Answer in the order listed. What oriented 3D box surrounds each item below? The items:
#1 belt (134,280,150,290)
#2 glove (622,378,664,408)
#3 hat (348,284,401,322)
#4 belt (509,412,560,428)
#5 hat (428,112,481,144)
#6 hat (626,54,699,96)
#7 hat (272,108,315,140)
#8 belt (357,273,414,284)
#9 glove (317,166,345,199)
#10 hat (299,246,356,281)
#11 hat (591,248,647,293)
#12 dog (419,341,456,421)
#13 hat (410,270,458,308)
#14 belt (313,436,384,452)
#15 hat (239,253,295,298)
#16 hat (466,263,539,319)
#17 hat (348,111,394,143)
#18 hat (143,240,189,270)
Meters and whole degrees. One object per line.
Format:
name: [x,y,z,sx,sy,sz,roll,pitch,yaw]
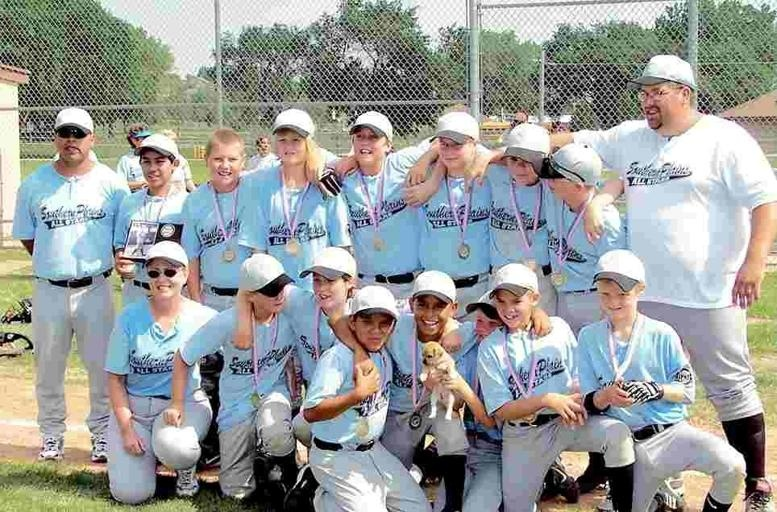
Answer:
belt: [-2.688,0.309,9.476,0.120,0.031,0.126,20,8,-15]
glove: [2.210,1.186,7.600,0.411,0.197,0.117,-2,6,-23]
hat: [-0.133,0.438,7.967,0.449,0.315,0.257,0,6,-2]
belt: [1.336,1.489,7.873,0.244,0.064,0.179,-13,8,15]
hat: [0.690,-1.311,8.890,0.426,0.326,0.298,1,6,0]
hat: [2.576,-1.726,8.228,0.598,0.317,0.455,0,3,-8]
hat: [-0.944,-1.376,9.063,0.312,0.237,0.435,1,-16,7]
belt: [-0.039,0.231,9.199,0.613,0.133,0.124,2,6,11]
glove: [-0.581,-0.775,8.985,0.103,0.275,0.275,-8,24,19]
hat: [-0.554,0.078,8.195,0.445,0.354,0.351,1,-5,12]
hat: [2.070,0.132,7.792,0.311,0.255,0.439,4,-9,32]
dog: [0.442,1.133,7.864,0.314,0.699,0.228,1,6,2]
hat: [0.430,0.279,8.096,0.434,0.303,0.603,5,2,7]
belt: [-0.401,1.716,7.923,0.540,0.114,0.114,0,6,-5]
hat: [-1.189,0.195,8.249,0.372,0.436,0.387,2,-1,-4]
hat: [1.064,0.328,8.086,0.366,0.529,0.627,-2,6,-26]
hat: [-0.179,-1.355,9.075,0.424,0.305,0.359,-1,6,-14]
hat: [-2.183,-0.019,8.549,0.374,0.239,0.358,-1,6,-18]
